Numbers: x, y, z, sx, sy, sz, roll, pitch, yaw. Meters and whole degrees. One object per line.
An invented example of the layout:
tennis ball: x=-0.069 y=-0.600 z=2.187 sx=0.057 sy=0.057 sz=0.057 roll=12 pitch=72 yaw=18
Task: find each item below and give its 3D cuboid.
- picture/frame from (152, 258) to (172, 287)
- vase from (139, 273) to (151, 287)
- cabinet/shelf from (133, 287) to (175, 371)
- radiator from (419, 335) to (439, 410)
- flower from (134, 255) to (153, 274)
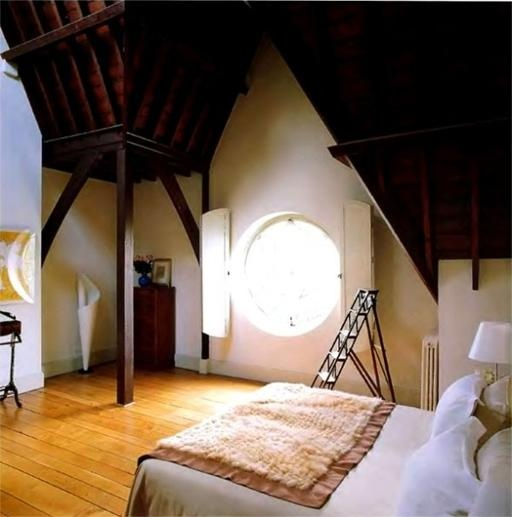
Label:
picture/frame: x=-1.193 y=0.187 z=5.745 sx=0.261 sy=0.414 sz=0.026 roll=-2 pitch=-4 yaw=30
vase: x=-1.386 y=0.270 z=5.673 sx=0.132 sy=0.197 sz=0.128 roll=1 pitch=-5 yaw=-41
cabinet/shelf: x=-1.252 y=0.844 z=5.493 sx=0.469 sy=0.985 sz=0.311 roll=3 pitch=-3 yaw=-18
radiator: x=1.423 y=0.969 z=3.709 sx=0.115 sy=0.726 sz=0.101 roll=-1 pitch=19 yaw=13
flower: x=-1.440 y=0.074 z=5.780 sx=0.234 sy=0.250 sz=0.455 roll=3 pitch=-4 yaw=-14
